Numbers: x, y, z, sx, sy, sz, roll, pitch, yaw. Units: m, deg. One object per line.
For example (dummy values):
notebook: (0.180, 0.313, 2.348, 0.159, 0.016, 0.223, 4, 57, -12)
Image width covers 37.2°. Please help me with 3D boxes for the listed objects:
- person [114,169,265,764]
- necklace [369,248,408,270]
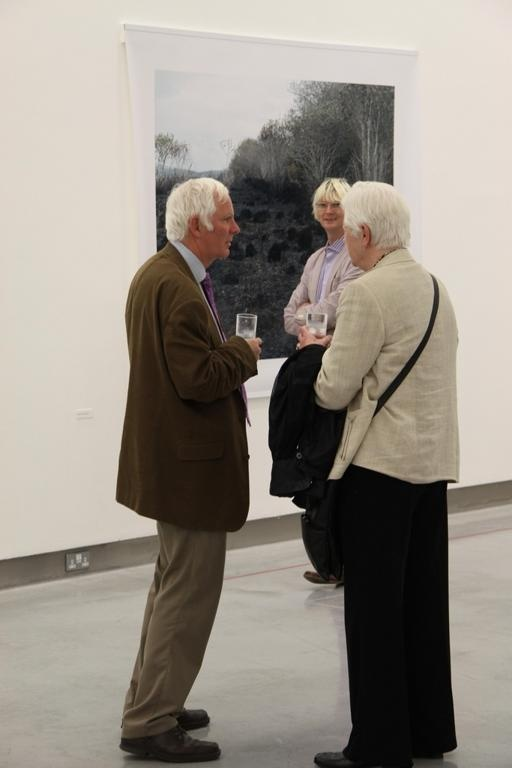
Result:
person: (-0.193, 0.256, 2.127, 0.413, 1.681, 0.382, 0, 2, -1)
necklace: (0.335, -0.336, 1.954, 0.059, 0.067, 0.077, -9, 19, -15)
